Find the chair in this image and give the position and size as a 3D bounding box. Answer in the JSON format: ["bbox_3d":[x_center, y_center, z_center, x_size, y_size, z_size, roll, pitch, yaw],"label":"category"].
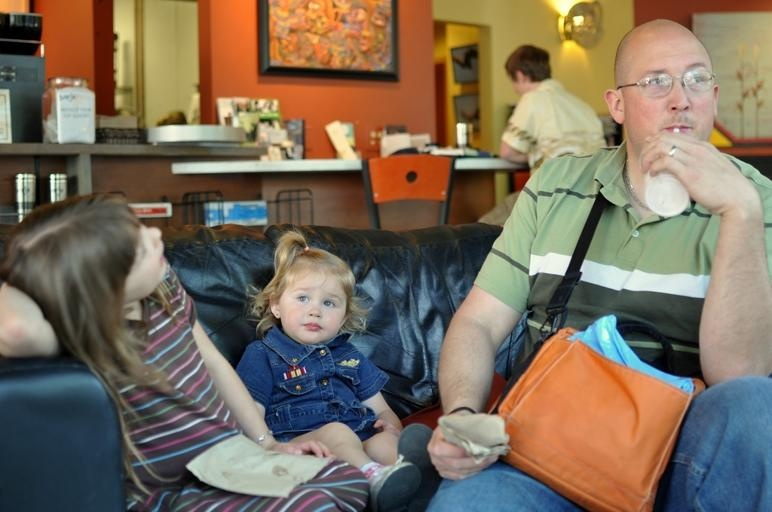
[{"bbox_3d":[0.086,-0.416,4.190,0.446,0.729,0.475,-1,9,-11],"label":"chair"}]

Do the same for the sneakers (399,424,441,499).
[{"bbox_3d":[0.106,0.524,1.799,0.107,0.184,0.113,-16,5,12],"label":"sneakers"}]

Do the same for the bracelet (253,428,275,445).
[{"bbox_3d":[-0.325,0.477,1.815,0.039,0.028,0.041,-4,2,13],"label":"bracelet"}]

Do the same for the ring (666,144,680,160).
[{"bbox_3d":[0.689,-0.249,1.643,0.008,0.029,0.029,22,-14,-21],"label":"ring"}]
